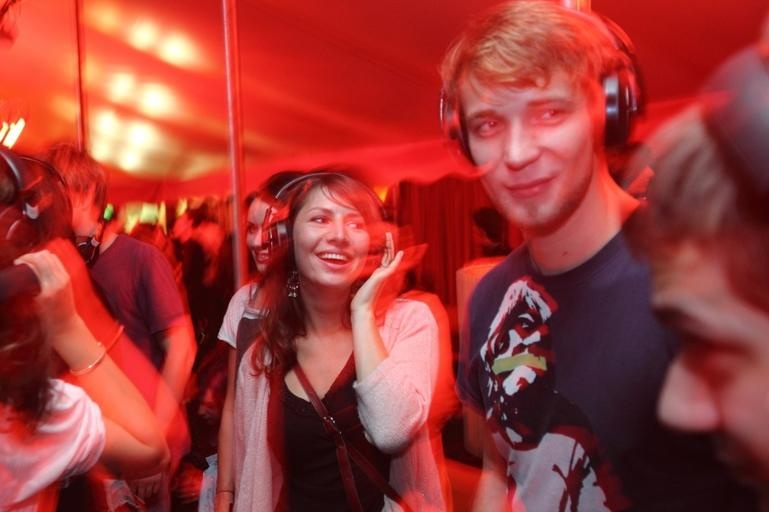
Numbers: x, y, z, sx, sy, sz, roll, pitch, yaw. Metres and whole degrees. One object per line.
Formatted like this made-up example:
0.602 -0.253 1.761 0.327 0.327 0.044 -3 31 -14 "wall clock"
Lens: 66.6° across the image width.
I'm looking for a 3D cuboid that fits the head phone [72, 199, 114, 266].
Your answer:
-1.051 -0.086 2.132 0.106 0.207 0.153 -29 -17 18 "head phone"
